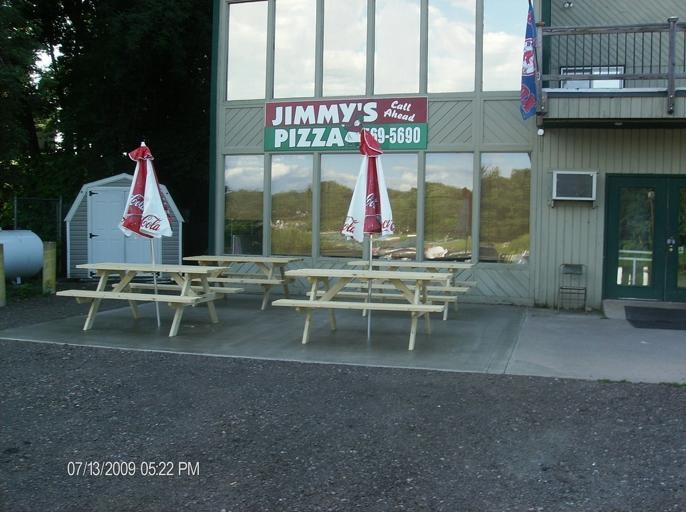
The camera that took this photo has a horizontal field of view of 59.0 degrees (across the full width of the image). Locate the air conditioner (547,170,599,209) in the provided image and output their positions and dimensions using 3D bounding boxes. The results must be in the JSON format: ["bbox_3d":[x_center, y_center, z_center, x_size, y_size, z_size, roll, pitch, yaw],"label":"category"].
[{"bbox_3d":[4.368,-1.303,11.773,0.932,0.623,0.323,1,5,14],"label":"air conditioner"}]

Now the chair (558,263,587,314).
[{"bbox_3d":[4.333,0.600,11.806,0.543,0.884,0.342,3,8,16],"label":"chair"}]

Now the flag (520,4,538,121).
[{"bbox_3d":[3.356,-3.612,11.165,0.290,2.050,0.494,2,8,13],"label":"flag"}]

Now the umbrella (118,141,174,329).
[{"bbox_3d":[-2.982,-0.846,9.396,0.719,1.787,0.562,-1,8,-6],"label":"umbrella"}]
